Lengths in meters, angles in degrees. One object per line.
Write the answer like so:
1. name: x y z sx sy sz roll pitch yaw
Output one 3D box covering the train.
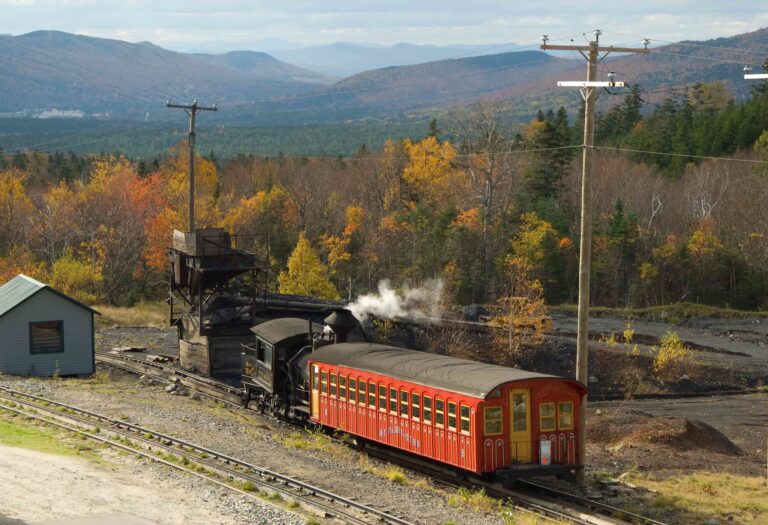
1. train: -1.879 8.688 75.331 8.284 10.781 31.602 -1 7 -43
